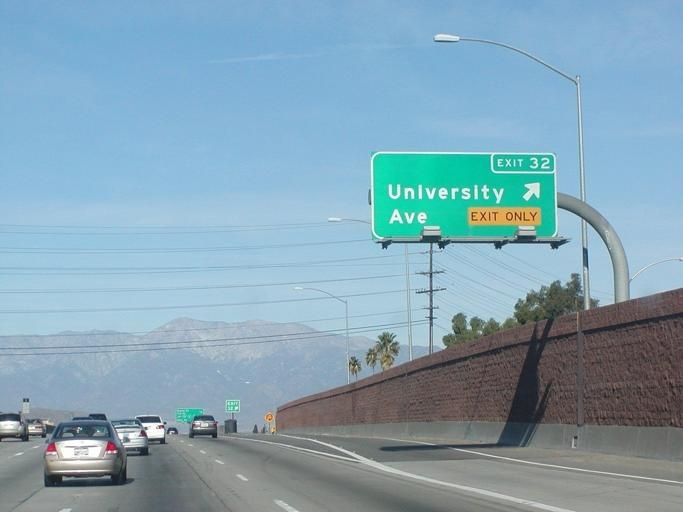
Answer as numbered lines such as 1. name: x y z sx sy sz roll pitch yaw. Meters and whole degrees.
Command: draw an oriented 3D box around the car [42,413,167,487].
1. car: -8.337 6.380 37.972 2.571 2.062 1.319 1 -7 -22
